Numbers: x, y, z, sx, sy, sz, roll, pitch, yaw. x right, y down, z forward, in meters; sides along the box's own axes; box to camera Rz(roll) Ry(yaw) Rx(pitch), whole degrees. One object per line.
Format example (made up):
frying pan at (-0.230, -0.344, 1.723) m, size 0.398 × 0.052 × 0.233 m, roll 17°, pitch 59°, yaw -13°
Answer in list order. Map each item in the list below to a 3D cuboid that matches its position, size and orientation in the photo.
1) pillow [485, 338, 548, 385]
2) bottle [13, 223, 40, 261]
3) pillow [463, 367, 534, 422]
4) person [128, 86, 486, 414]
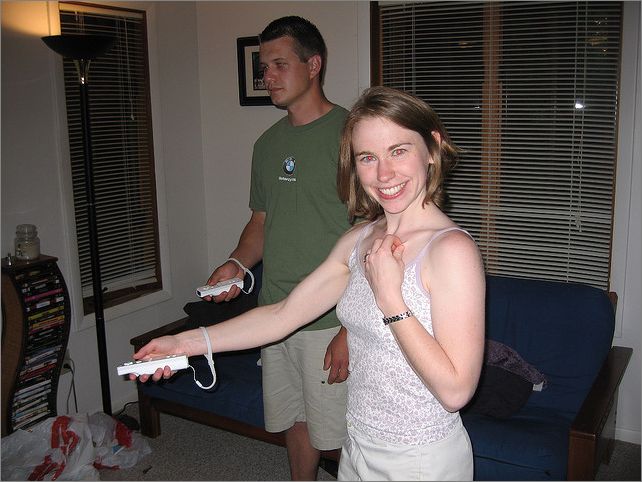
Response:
pillow at (1.109, 0.691, 2.861) m, size 0.302 × 0.081 × 0.206 m, roll 26°, pitch 36°, yaw 10°
bottle at (-1.777, -0.001, 3.037) m, size 0.132 × 0.203 × 0.199 m, roll -9°, pitch 16°, yaw -30°
pillow at (1.068, 0.843, 2.854) m, size 0.309 × 0.122 × 0.429 m, roll -11°, pitch 15°, yaw 37°
person at (-0.037, 0.037, 1.472) m, size 0.963 × 0.900 × 0.572 m, roll 3°, pitch 10°, yaw -4°
